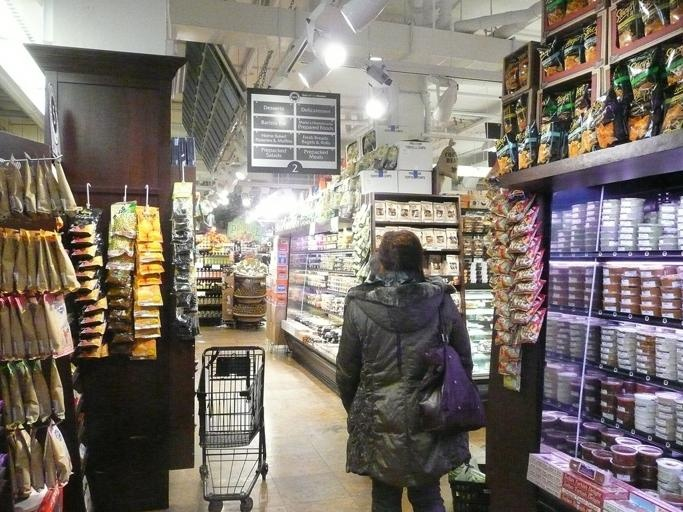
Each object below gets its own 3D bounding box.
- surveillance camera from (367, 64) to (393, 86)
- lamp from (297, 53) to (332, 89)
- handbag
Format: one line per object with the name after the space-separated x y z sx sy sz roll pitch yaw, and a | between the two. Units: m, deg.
0.416 -2.143 6.190 0.267 0.283 0.198 -1 2 -7 | surveillance camera
-0.301 -2.025 5.537 0.293 0.376 0.832 -1 2 -9 | lamp
0.584 0.619 2.873 0.371 0.708 0.206 -2 2 -27 | handbag
